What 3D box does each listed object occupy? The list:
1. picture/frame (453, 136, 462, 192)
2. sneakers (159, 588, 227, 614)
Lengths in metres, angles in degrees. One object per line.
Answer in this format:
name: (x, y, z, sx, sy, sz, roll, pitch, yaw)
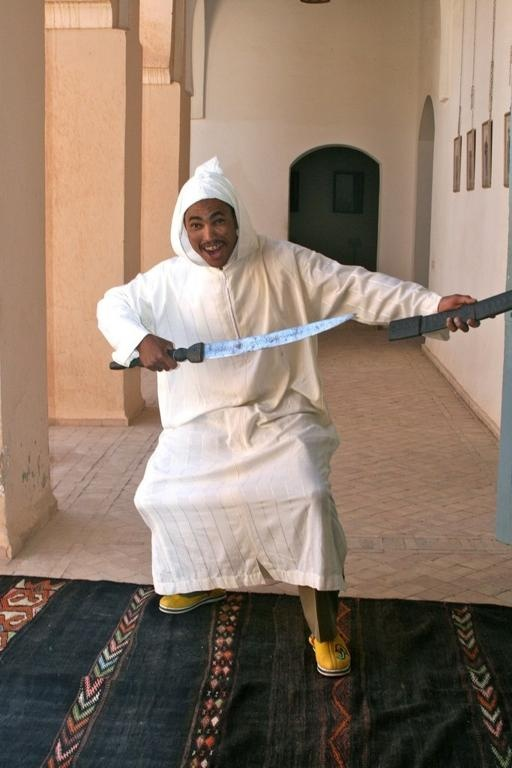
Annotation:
picture/frame: (2.187, -2.273, 7.233, 0.064, 0.739, 0.464, 0, -21, 19)
sneakers: (-0.238, 0.800, 2.515, 0.236, 0.092, 0.084, 0, 4, -22)
